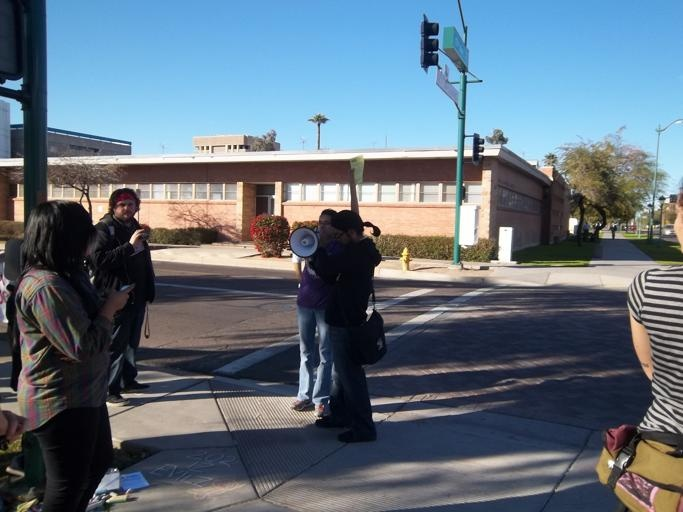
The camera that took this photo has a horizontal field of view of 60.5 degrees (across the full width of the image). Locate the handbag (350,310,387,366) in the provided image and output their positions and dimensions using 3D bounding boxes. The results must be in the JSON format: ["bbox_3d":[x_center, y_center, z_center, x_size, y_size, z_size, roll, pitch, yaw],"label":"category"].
[{"bbox_3d":[0.261,0.775,5.427,0.263,0.562,0.361,2,6,15],"label":"handbag"}]

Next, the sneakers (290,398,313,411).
[{"bbox_3d":[-0.424,1.534,6.102,0.237,0.107,0.090,1,37,-26],"label":"sneakers"}]

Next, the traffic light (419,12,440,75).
[{"bbox_3d":[2.061,-4.946,13.645,0.385,1.210,0.854,2,6,12],"label":"traffic light"}]

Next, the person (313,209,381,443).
[{"bbox_3d":[0.064,0.615,5.510,0.546,2.089,0.716,-2,6,-26],"label":"person"}]

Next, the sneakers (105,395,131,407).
[{"bbox_3d":[-2.292,1.460,5.983,0.216,0.111,0.098,1,0,21],"label":"sneakers"}]

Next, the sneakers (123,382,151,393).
[{"bbox_3d":[-2.221,1.418,6.385,0.239,0.105,0.091,-1,6,-13],"label":"sneakers"}]

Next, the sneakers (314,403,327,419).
[{"bbox_3d":[-0.207,1.544,5.858,0.099,0.039,0.140,1,-32,-16],"label":"sneakers"}]

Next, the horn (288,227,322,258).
[{"bbox_3d":[-0.353,-0.159,5.732,0.243,0.341,0.342,4,5,11],"label":"horn"}]

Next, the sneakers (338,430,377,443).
[{"bbox_3d":[0.137,1.634,5.326,0.342,0.102,0.096,1,6,2],"label":"sneakers"}]

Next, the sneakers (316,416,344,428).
[{"bbox_3d":[-0.108,1.594,5.683,0.293,0.130,0.113,-1,5,6],"label":"sneakers"}]
